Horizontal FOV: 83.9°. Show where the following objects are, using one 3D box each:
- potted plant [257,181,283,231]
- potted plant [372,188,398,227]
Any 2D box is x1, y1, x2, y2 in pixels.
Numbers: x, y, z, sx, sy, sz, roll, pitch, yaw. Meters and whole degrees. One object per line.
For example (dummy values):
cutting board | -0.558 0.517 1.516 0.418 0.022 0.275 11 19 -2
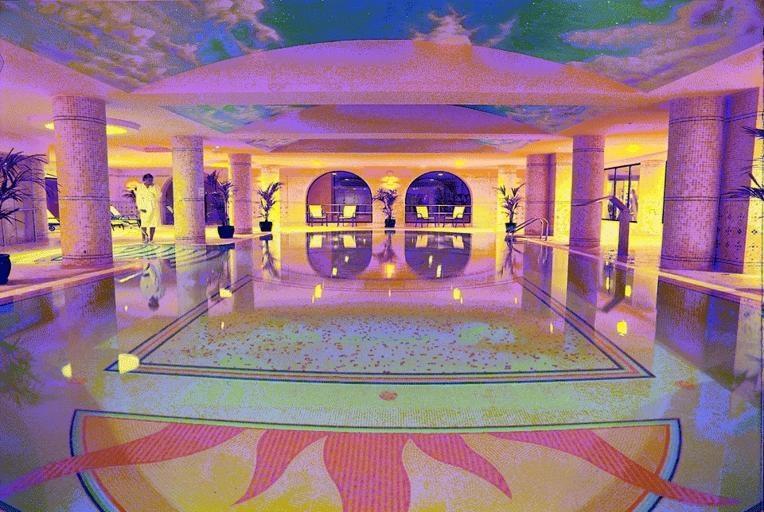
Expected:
potted plant | -5.187 -2.296 19.781 1.033 2.303 2.678 -3 13 -13
potted plant | 0.314 -2.833 24.298 1.372 2.051 2.372 -1 13 -8
